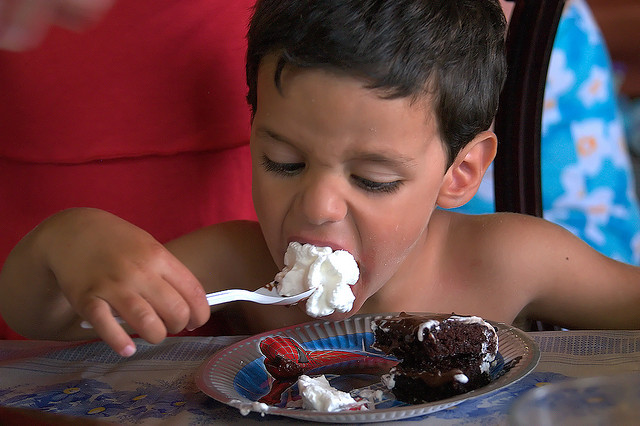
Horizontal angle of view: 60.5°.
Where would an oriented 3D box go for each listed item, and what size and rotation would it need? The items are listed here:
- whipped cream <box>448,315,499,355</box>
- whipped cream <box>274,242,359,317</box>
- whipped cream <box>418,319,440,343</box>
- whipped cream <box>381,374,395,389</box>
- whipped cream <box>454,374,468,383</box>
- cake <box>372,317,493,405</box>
[{"bbox_3d":[0.437,0.354,1.555,0.088,0.119,0.090,1,8,-26],"label":"whipped cream"},{"bbox_3d":[-0.003,0.168,1.620,0.223,0.222,0.121,-2,5,-32],"label":"whipped cream"},{"bbox_3d":[0.308,0.333,1.557,0.060,0.023,0.045,-29,37,9],"label":"whipped cream"},{"bbox_3d":[0.182,0.441,1.456,0.033,0.030,0.040,-1,25,5],"label":"whipped cream"},{"bbox_3d":[0.362,0.423,1.410,0.031,0.017,0.018,-2,25,4],"label":"whipped cream"},{"bbox_3d":[0.328,0.395,1.501,0.203,0.057,0.216,-8,19,-6],"label":"cake"}]
